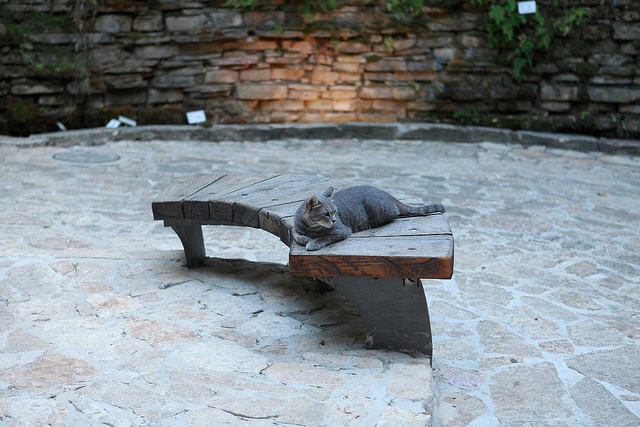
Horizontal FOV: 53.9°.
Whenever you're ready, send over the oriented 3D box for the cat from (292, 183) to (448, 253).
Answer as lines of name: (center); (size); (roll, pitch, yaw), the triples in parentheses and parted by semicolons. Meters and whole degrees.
cat: (0.424, -0.050, 5.436); (1.352, 0.369, 0.392); (-12, 14, -25)
